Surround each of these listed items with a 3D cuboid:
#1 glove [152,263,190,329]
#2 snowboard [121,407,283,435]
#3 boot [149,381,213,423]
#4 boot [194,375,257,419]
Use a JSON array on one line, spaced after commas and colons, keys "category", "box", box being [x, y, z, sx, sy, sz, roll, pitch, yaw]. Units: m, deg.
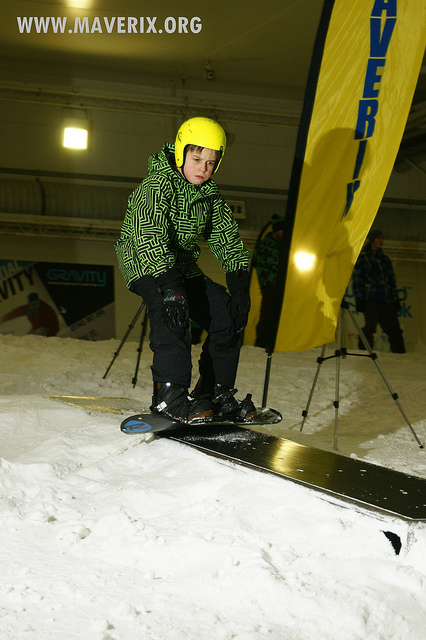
[{"category": "glove", "box": [-0.186, -0.093, 2.320, 0.130, 0.298, 0.173, 16, -36, -32]}, {"category": "snowboard", "box": [-0.027, 0.412, 2.260, 0.856, 0.082, 0.219, 4, -1, -21]}, {"category": "boot", "box": [-0.149, 0.327, 2.319, 0.135, 0.156, 0.360, 1, -4, -40]}, {"category": "boot", "box": [0.026, 0.349, 2.485, 0.357, 0.150, 0.113, 12, -5, 24]}]
